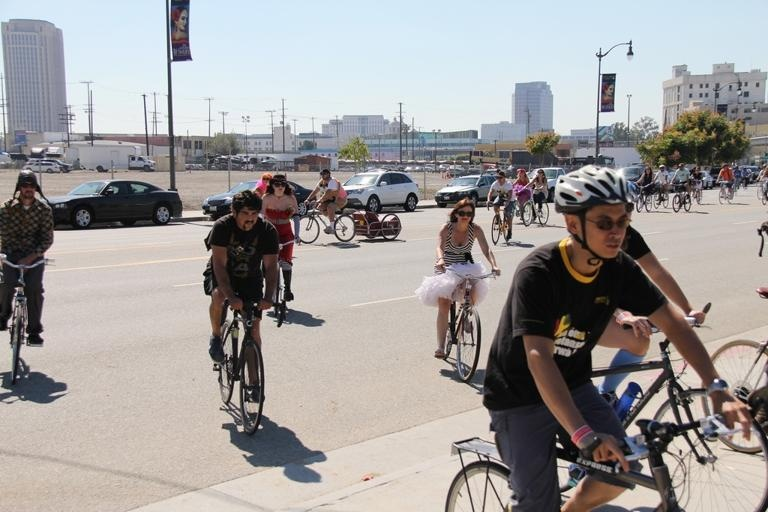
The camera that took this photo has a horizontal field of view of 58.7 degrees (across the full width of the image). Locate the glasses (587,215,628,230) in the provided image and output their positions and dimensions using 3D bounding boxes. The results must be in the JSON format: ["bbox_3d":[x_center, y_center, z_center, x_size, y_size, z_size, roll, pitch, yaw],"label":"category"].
[{"bbox_3d":[1.274,-0.183,3.899,0.197,0.071,0.039,-1,11,-5],"label":"glasses"}]

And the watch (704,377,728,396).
[{"bbox_3d":[1.926,0.760,3.966,0.082,0.062,0.109,-10,-15,16],"label":"watch"}]

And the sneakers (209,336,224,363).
[{"bbox_3d":[-1.748,0.965,7.107,0.109,0.133,0.306,-3,29,-22],"label":"sneakers"}]

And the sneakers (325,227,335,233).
[{"bbox_3d":[-1.547,-0.716,19.081,0.312,0.190,0.253,4,12,19],"label":"sneakers"}]

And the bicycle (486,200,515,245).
[{"bbox_3d":[3.198,-0.768,19.057,0.554,0.875,1.355,0,1,19],"label":"bicycle"}]

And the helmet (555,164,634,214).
[{"bbox_3d":[1.209,-0.380,3.931,0.269,0.202,0.374,-4,0,-29],"label":"helmet"}]

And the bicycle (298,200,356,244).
[{"bbox_3d":[-1.576,-0.872,19.728,2.131,1.346,0.886,0,8,5],"label":"bicycle"}]

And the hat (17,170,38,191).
[{"bbox_3d":[-4.189,-0.880,8.056,0.265,0.274,0.318,1,0,-31],"label":"hat"}]

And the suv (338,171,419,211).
[{"bbox_3d":[-0.331,-2.857,30.624,3.057,1.379,1.775,-2,3,-43],"label":"suv"}]

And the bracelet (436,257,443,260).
[{"bbox_3d":[0.675,0.034,8.224,0.033,0.036,0.035,-5,-4,-15],"label":"bracelet"}]

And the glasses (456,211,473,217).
[{"bbox_3d":[0.974,-0.496,8.188,0.191,0.076,0.079,-2,11,-9],"label":"glasses"}]

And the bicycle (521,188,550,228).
[{"bbox_3d":[5.047,-1.637,22.996,0.782,1.064,1.609,-1,-3,37],"label":"bicycle"}]

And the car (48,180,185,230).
[{"bbox_3d":[-9.227,-1.646,23.559,3.754,1.277,1.610,0,3,-39],"label":"car"}]

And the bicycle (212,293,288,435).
[{"bbox_3d":[-1.420,1.022,6.808,0.395,1.224,1.249,-4,12,-21],"label":"bicycle"}]

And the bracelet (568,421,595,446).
[{"bbox_3d":[1.056,0.956,3.669,0.081,0.108,0.105,33,51,31],"label":"bracelet"}]
